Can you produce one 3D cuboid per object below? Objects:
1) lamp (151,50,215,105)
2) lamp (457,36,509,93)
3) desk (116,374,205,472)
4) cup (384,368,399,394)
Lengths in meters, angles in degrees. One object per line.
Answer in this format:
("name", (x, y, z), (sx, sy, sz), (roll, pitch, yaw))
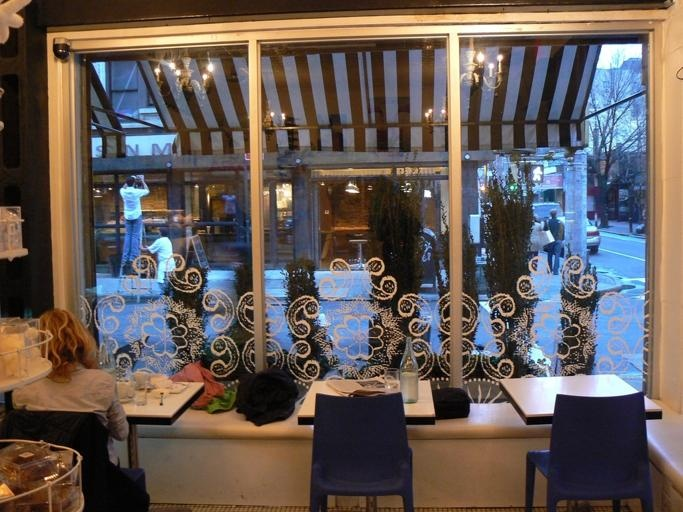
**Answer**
("lamp", (-1.137, -1.299, 5.137), (0.281, 0.373, 0.299), (0, 9, -1))
("lamp", (0.993, -1.317, 5.023), (0.314, 0.309, 0.322), (4, 2, -9))
("desk", (-1.150, 1.052, 4.622), (0.487, 0.532, 0.514), (1, 5, 3))
("cup", (0.327, 0.817, 4.640), (0.104, 0.198, 0.153), (0, 0, 2))
